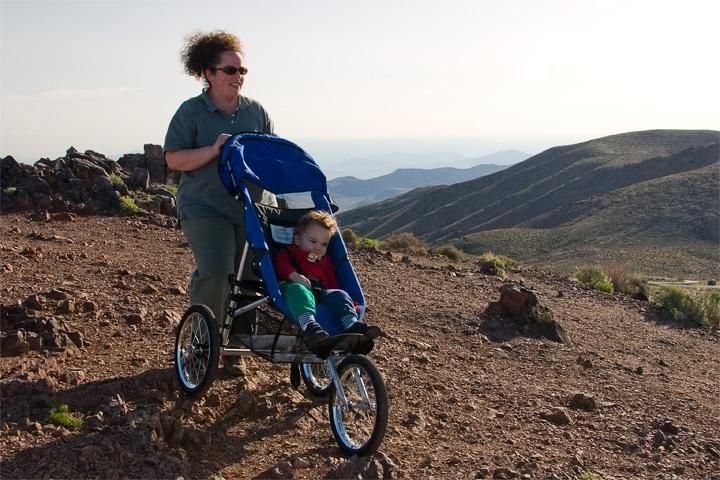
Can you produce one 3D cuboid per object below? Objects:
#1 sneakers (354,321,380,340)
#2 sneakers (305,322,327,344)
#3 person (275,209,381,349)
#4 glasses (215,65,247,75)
[{"bbox_3d":[0.116,0.897,5.902,0.342,0.109,0.233,10,-3,19],"label":"sneakers"},{"bbox_3d":[-0.440,0.940,5.843,0.166,0.219,0.237,-4,11,-33],"label":"sneakers"},{"bbox_3d":[-0.405,0.362,6.276,0.759,1.222,1.603,11,1,-25],"label":"person"},{"bbox_3d":[-1.469,-1.909,6.779,0.363,0.103,0.176,2,8,0],"label":"glasses"}]
